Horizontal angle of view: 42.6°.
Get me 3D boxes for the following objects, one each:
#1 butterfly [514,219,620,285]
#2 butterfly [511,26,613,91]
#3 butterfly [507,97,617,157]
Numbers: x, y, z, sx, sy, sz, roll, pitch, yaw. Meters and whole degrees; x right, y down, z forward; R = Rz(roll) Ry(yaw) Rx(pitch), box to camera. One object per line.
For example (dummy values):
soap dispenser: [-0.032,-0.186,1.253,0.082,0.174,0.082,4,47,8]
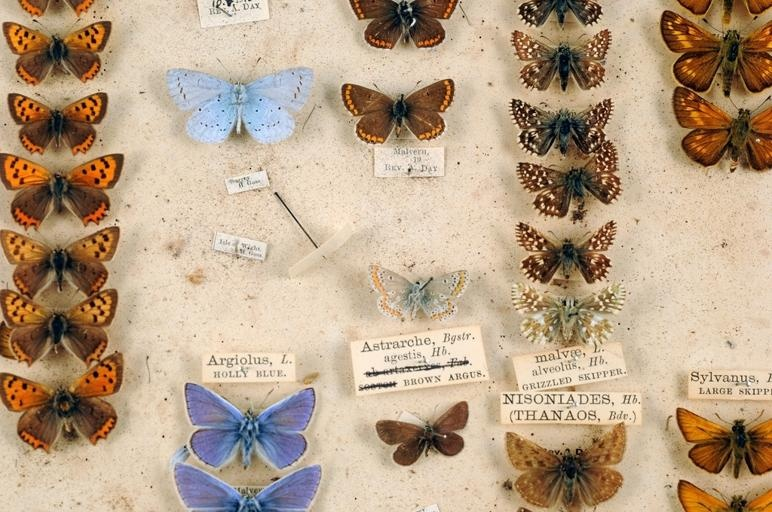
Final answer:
butterfly: [1.060,-0.008,5.805,0.553,0.174,0.382,0,80,4]
butterfly: [1.051,-1.164,5.947,0.575,0.138,0.375,-3,92,5]
butterfly: [1.029,-0.764,5.926,0.566,0.139,0.354,-4,92,5]
